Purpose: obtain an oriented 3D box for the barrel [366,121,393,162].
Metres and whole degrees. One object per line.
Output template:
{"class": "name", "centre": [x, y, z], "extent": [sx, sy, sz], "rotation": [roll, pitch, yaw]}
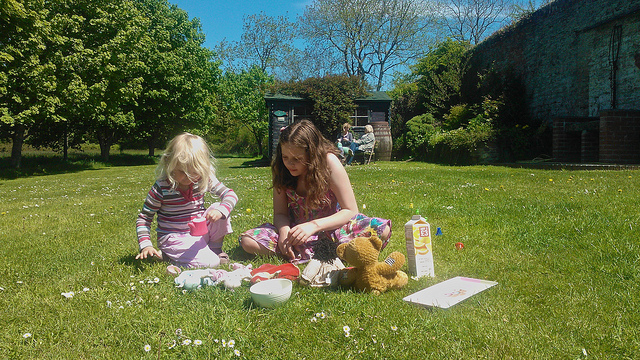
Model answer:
{"class": "barrel", "centre": [3.715, -2.282, 28.532], "extent": [1.156, 2.306, 0.782], "rotation": [1, 6, 2]}
